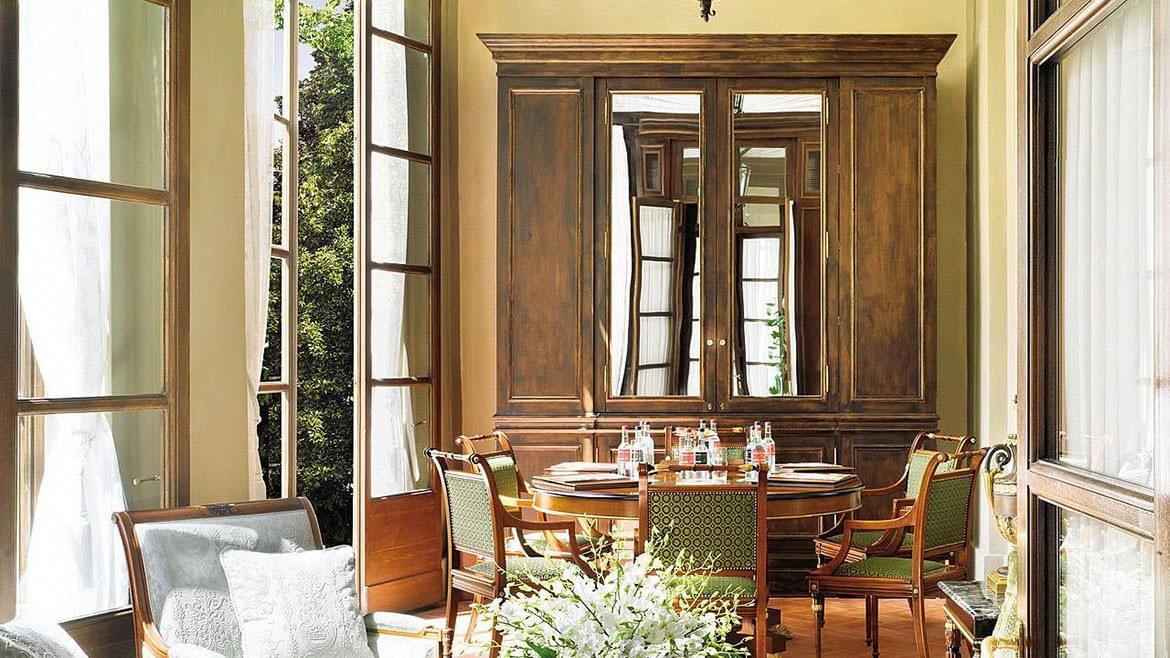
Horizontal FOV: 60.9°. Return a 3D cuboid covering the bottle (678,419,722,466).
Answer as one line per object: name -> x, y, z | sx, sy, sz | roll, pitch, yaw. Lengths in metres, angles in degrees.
bottle -> 0.702, 0.700, 6.084 | 0.269, 0.467, 0.285 | -1, -2, 0

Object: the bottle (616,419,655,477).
bottle -> 0.296, 0.731, 5.990 | 0.167, 0.439, 0.318 | 0, -4, 30

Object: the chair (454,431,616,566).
chair -> -0.420, 1.085, 6.383 | 0.870, 1.138, 0.757 | -3, -2, 12
